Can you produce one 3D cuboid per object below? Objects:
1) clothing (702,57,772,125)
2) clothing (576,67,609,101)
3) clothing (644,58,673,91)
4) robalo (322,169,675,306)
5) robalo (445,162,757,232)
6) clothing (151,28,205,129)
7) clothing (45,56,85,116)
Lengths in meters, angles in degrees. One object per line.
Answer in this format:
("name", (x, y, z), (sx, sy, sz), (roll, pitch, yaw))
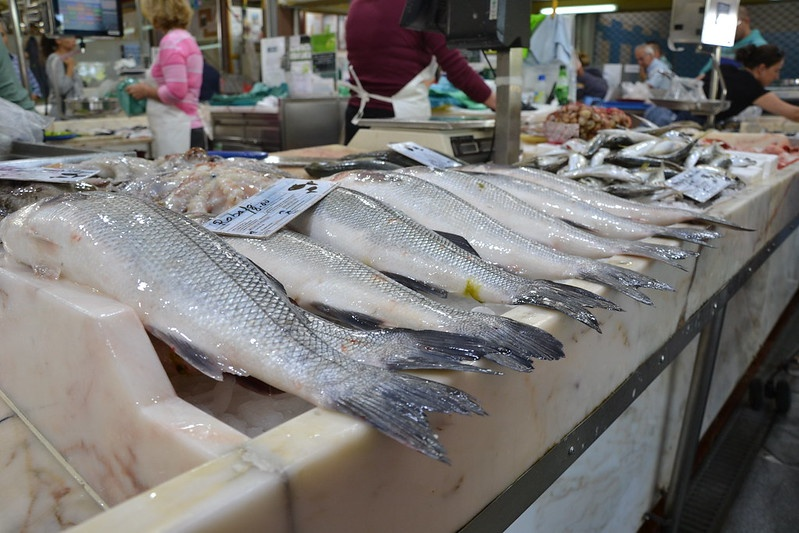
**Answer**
("clothing", (3.192, -1.599, 5.133), (0.411, 0.537, 0.420), (12, 26, 27))
("clothing", (2.441, -2.320, 6.901), (0.373, 0.369, 1.172), (8, 25, 18))
("clothing", (3.179, -2.377, 6.737), (0.262, 0.293, 1.034), (8, 25, 20))
("robalo", (0.278, -0.097, 1.387), (0.844, 0.209, 0.170), (19, 24, -17))
("robalo", (0.617, -0.208, 1.678), (0.651, 0.121, 0.112), (15, 21, 15))
("clothing", (-1.699, -1.464, 4.182), (0.381, 0.712, 0.516), (2, 23, -17))
("clothing", (-3.610, -1.956, 5.894), (0.365, 0.617, 1.166), (-13, 26, -26))
